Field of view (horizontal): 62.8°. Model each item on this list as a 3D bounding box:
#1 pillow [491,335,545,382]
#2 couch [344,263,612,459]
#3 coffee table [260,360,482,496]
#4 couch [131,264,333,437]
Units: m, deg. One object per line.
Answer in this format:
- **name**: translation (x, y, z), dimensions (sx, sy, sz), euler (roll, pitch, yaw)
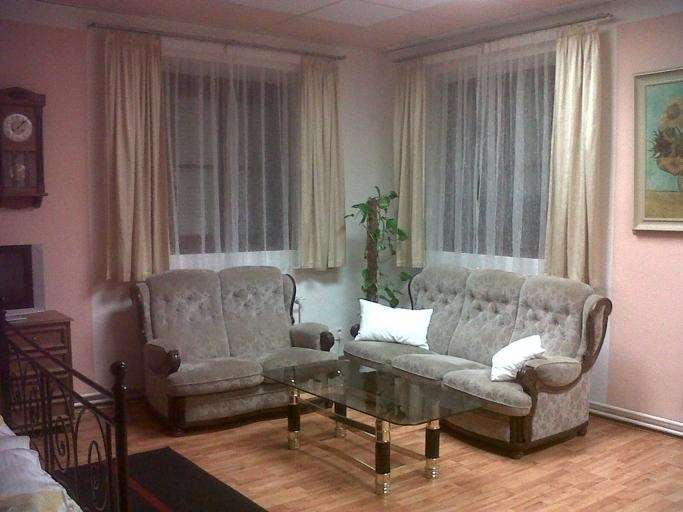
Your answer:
- **pillow**: translation (1.341, 0.788, 4.275), dimensions (0.365, 0.303, 0.326), euler (3, 10, 19)
- **couch**: translation (1.112, 0.801, 5.088), dimensions (1.249, 1.215, 2.265), euler (-7, 6, -29)
- **coffee table**: translation (0.148, 1.231, 4.150), dimensions (0.999, 0.558, 1.577), euler (2, 1, -38)
- **couch**: translation (-0.938, 0.751, 5.052), dimensions (1.766, 1.181, 1.050), euler (-1, 8, -44)
